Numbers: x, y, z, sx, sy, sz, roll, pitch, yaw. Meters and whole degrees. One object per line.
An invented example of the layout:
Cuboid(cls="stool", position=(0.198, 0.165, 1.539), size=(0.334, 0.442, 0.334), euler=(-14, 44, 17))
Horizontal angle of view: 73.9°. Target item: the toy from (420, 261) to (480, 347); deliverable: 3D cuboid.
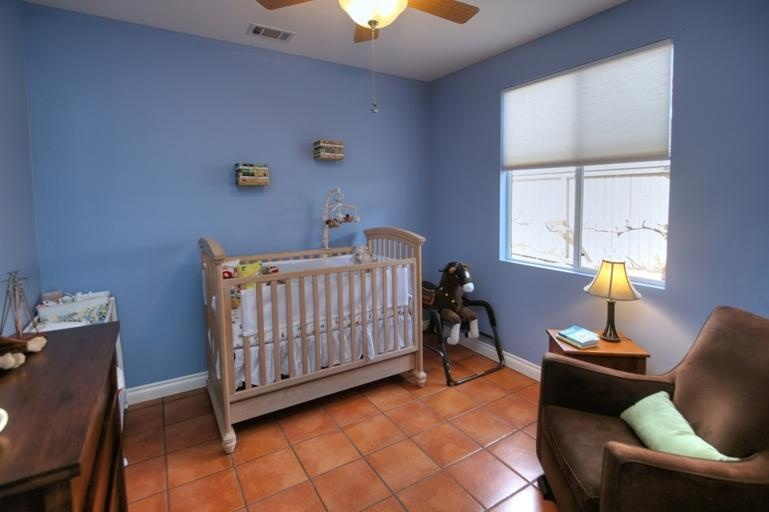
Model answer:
Cuboid(cls="toy", position=(0.571, 0.423, 4.604), size=(0.487, 0.731, 0.217), euler=(1, 10, 27))

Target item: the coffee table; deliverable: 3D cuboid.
Cuboid(cls="coffee table", position=(1.485, 0.589, 3.591), size=(0.379, 0.359, 0.381), euler=(-2, 3, -14))

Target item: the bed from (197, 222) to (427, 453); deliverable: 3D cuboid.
Cuboid(cls="bed", position=(-0.749, 0.626, 4.543), size=(2.211, 1.764, 1.501), euler=(-4, 5, -34))
